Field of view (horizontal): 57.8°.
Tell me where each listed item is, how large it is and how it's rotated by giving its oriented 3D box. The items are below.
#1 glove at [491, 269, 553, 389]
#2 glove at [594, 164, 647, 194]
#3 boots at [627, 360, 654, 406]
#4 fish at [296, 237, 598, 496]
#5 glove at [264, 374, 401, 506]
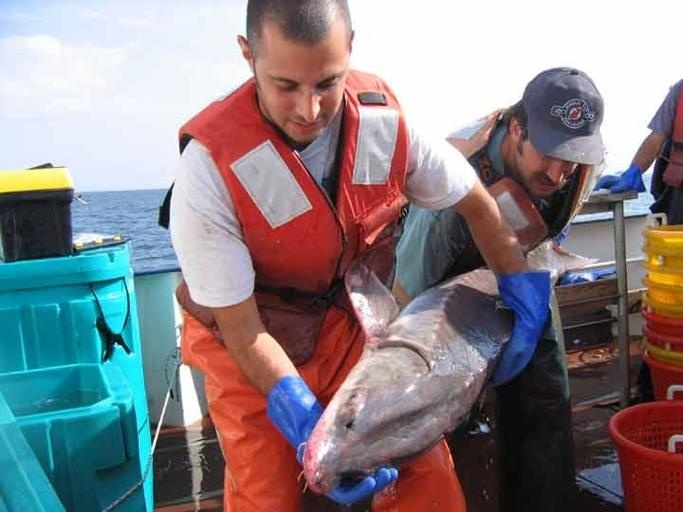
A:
[{"bbox_3d":[0.727,0.300,2.686,0.195,0.470,0.329,9,-4,17],"label":"glove"},{"bbox_3d":[1.919,-0.565,4.256,0.268,0.121,0.298,-18,1,5],"label":"glove"},{"bbox_3d":[1.948,0.813,4.034,0.218,0.283,0.244,4,-2,16],"label":"boots"},{"bbox_3d":[0.301,0.402,2.375,0.301,0.548,1.039,-42,2,45],"label":"fish"},{"bbox_3d":[-0.013,0.702,2.340,0.174,0.534,0.367,-32,33,-9],"label":"glove"}]
